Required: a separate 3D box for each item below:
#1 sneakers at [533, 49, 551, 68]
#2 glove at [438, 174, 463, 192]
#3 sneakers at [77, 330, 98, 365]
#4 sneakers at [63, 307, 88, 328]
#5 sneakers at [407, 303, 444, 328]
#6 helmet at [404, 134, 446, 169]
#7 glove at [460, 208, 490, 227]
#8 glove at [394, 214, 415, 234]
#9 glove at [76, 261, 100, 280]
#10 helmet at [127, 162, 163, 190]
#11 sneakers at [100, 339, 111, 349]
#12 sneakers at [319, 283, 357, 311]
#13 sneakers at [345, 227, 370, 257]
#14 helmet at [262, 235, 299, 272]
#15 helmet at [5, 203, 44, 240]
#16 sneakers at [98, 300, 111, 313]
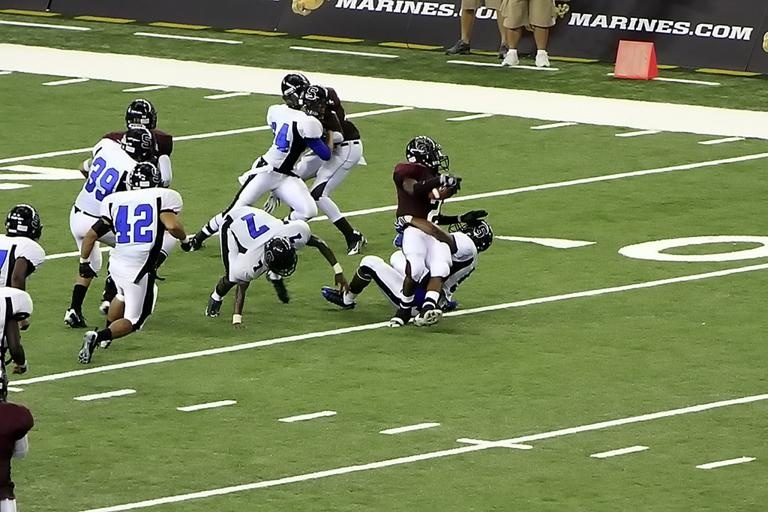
[{"bbox_3d":[2.996,-3.714,22.325,0.329,0.144,0.372,-9,28,-6],"label":"sneakers"},{"bbox_3d":[0.639,-0.717,11.467,0.200,0.148,0.223,3,7,8],"label":"glove"},{"bbox_3d":[-2.586,0.797,10.528,0.159,0.294,0.162,16,2,-20],"label":"sneakers"},{"bbox_3d":[-3.017,0.597,11.471,0.119,0.112,0.321,11,-13,41],"label":"sneakers"},{"bbox_3d":[0.460,0.565,11.468,0.401,0.125,0.176,-18,26,49],"label":"sneakers"},{"bbox_3d":[0.433,-1.033,11.887,0.537,0.251,0.297,-1,3,-4],"label":"helmet"},{"bbox_3d":[0.899,-0.395,11.939,0.246,0.150,0.308,2,7,3],"label":"glove"},{"bbox_3d":[0.206,-0.332,11.896,0.200,0.179,0.101,11,27,9],"label":"glove"},{"bbox_3d":[-2.880,0.129,11.502,0.259,0.168,0.125,2,27,-7],"label":"glove"},{"bbox_3d":[-2.194,-0.735,11.129,0.308,0.248,0.285,0,-14,8],"label":"helmet"},{"bbox_3d":[-2.557,0.801,10.899,0.076,0.072,0.190,-28,-7,-5],"label":"sneakers"},{"bbox_3d":[-0.430,0.415,12.169,0.489,0.129,0.176,17,-38,-19],"label":"sneakers"},{"bbox_3d":[-0.273,-0.163,13.761,0.187,0.353,0.143,38,10,35],"label":"sneakers"},{"bbox_3d":[-0.997,0.005,11.311,0.316,0.378,0.244,3,8,3],"label":"helmet"},{"bbox_3d":[-3.144,-0.324,10.226,0.349,0.260,0.360,9,17,9],"label":"helmet"},{"bbox_3d":[-2.787,0.501,11.833,0.084,0.146,0.319,-1,7,-22],"label":"sneakers"}]
